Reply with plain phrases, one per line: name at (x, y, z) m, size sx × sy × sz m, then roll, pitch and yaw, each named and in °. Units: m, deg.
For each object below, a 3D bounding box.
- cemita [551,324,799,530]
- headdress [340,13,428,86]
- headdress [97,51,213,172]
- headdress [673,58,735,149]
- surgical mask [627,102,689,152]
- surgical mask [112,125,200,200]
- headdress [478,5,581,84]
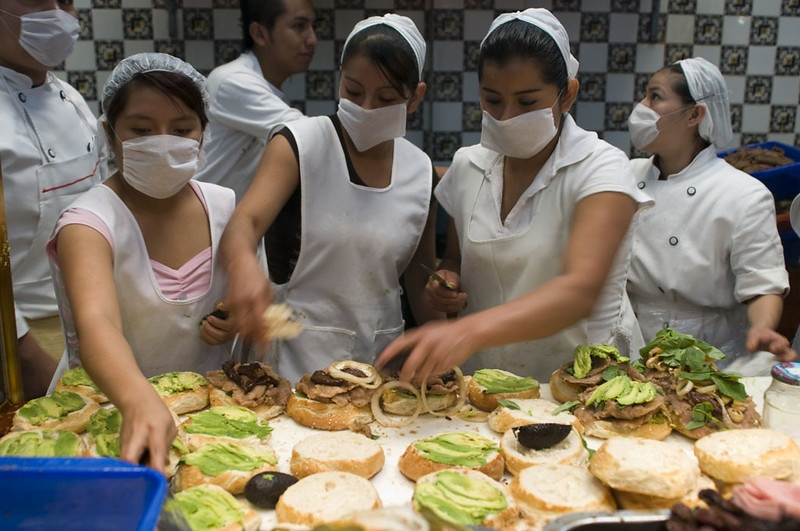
cemita at (1.029, 0.576, 2.096) m, size 0.603 × 0.435 × 1.022 m, roll 13°, pitch 13°, yaw 31°
headdress at (-0.051, -1.084, 3.003) m, size 0.329 × 0.317 × 0.373 m, roll 12°, pitch 54°, yaw -5°
headdress at (-1.117, -0.681, 2.880) m, size 0.415 × 0.581 × 0.228 m, roll 3°, pitch 9°, yaw -8°
headdress at (1.782, -0.947, 3.624) m, size 0.255 × 0.491 × 0.366 m, roll -3°, pitch 12°, yaw -33°
surgical mask at (1.480, -0.804, 3.545) m, size 0.253 × 0.261 × 0.233 m, roll -2°, pitch 8°, yaw 7°
surgical mask at (-1.050, -0.438, 2.708) m, size 0.325 × 0.294 × 0.187 m, roll 1°, pitch 11°, yaw -26°
headdress at (0.695, -1.016, 2.905) m, size 0.341 × 0.388 × 0.160 m, roll 11°, pitch 21°, yaw 21°
